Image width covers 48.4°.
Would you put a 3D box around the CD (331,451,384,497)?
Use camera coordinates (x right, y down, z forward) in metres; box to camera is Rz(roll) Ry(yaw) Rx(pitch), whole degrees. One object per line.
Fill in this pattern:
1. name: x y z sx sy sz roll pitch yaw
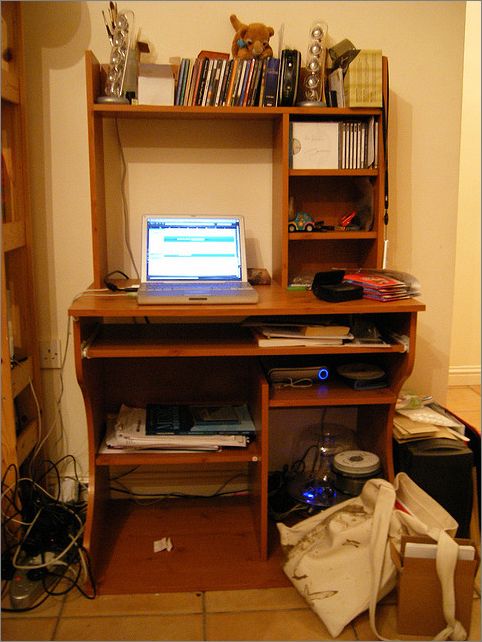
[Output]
1. CD: 0.359 0.475 1.674 0.110 0.139 0.147 -2 15 -17

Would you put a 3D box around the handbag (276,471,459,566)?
1. handbag: 0.341 0.563 1.472 0.339 0.108 0.263 -29 19 -12

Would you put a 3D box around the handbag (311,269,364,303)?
1. handbag: 0.290 -0.104 1.564 0.188 0.078 0.119 -9 14 -42

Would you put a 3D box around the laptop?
1. laptop: -0.141 -0.214 1.623 0.326 0.210 0.309 -1 21 -7

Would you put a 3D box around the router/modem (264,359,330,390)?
1. router/modem: 0.174 0.159 1.699 0.187 0.078 0.175 -3 15 -7

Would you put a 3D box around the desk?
1. desk: -0.128 0.189 1.966 1.094 0.896 0.709 -1 15 -11

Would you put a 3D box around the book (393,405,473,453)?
1. book: 0.593 0.327 1.721 0.190 0.108 0.154 0 14 -5

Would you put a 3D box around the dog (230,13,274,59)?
1. dog: 0.029 -0.892 1.700 0.138 0.160 0.121 0 16 -5

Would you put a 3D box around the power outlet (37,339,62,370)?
1. power outlet: -0.682 0.115 1.888 0.103 0.150 0.015 -1 10 -17
